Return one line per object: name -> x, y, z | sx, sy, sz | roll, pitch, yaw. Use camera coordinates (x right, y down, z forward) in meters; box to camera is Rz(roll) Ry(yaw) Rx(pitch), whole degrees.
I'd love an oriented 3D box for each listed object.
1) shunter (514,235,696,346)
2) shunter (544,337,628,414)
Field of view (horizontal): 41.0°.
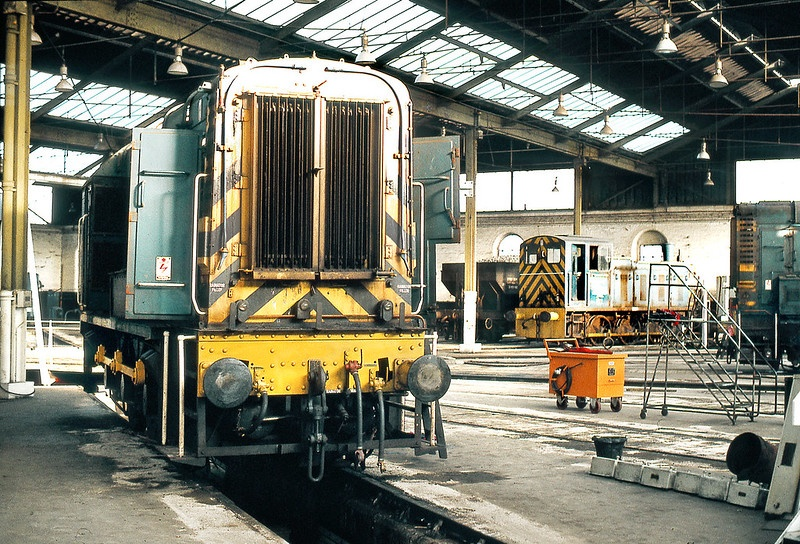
shunter -> 8.167, 0.877, 41.383 | 8.780, 4.302, 2.661 | 2, -2, -40
shunter -> 4.065, 2.277, 23.480 | 1.602, 1.539, 1.420 | 0, -3, 8
